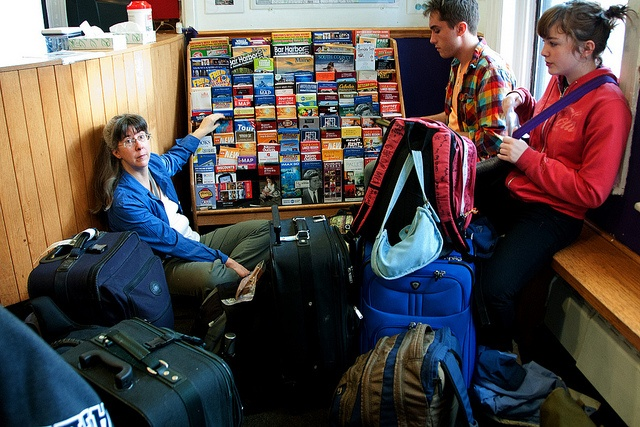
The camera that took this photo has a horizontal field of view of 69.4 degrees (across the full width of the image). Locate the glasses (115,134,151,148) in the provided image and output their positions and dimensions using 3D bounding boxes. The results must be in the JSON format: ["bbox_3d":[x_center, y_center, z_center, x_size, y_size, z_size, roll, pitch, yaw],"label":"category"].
[{"bbox_3d":[-1.035,-0.416,2.598,0.068,0.062,0.176,15,28,39],"label":"glasses"}]

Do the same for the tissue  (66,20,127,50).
[{"bbox_3d":[-1.379,-1.125,2.812,0.229,0.141,0.233,-1,25,-4],"label":"tissue "}]

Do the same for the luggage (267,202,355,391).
[{"bbox_3d":[-0.029,0.427,2.395,0.413,0.805,0.439,-6,21,-7],"label":"luggage"}]

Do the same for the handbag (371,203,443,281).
[{"bbox_3d":[0.431,0.140,2.206,0.284,0.276,0.142,-21,0,-14],"label":"handbag"}]

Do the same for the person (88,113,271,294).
[{"bbox_3d":[-0.871,-0.087,2.854,0.731,0.975,0.775,1,37,14],"label":"person"}]

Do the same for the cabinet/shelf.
[{"bbox_3d":[-0.381,-0.633,4.266,1.523,1.546,0.936,-5,2,-3],"label":"cabinet/shelf"}]

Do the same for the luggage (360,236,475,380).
[{"bbox_3d":[0.454,0.446,2.521,0.643,0.713,0.504,-3,16,1],"label":"luggage"}]
